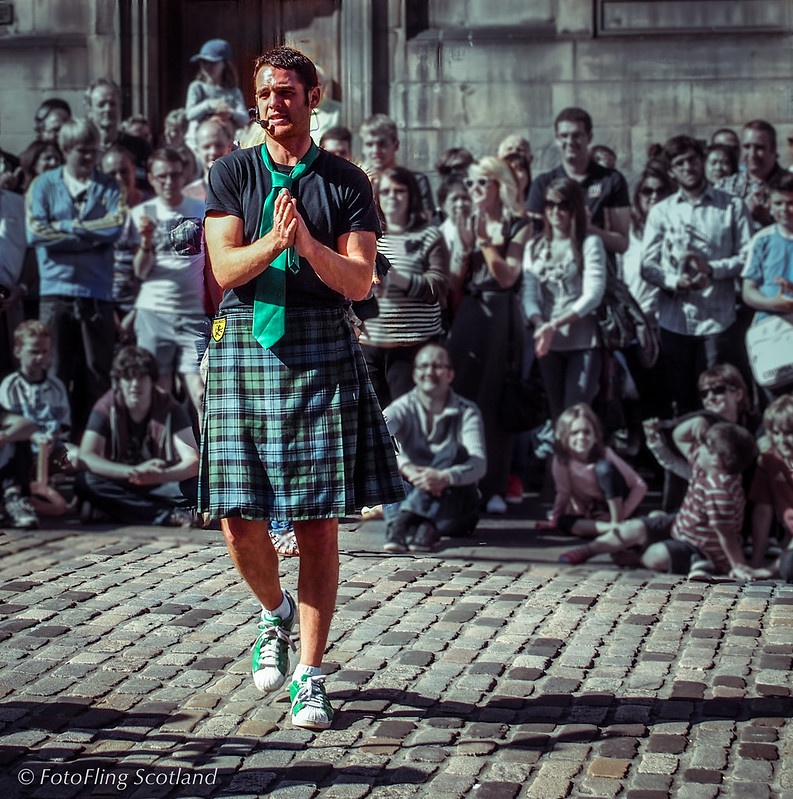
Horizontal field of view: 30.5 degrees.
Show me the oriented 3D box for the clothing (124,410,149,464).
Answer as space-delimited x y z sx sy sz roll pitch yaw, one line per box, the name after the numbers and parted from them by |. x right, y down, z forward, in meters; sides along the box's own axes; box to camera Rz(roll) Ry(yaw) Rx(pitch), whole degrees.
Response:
-1.211 0.184 6.809 0.150 0.219 0.076 -1 7 -3 | clothing

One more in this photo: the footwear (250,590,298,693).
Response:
-0.349 0.728 4.307 0.113 0.307 0.117 2 -34 2 | footwear

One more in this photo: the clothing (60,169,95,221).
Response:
-1.490 -0.976 6.826 0.150 0.211 0.089 -3 8 -21 | clothing

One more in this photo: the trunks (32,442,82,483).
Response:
-1.540 0.295 6.766 0.314 0.108 0.133 -6 13 -21 | trunks

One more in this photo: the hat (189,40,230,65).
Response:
-1.132 -2.150 8.928 0.131 0.116 0.224 5 15 30 | hat

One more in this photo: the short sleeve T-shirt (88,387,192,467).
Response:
-1.213 0.144 6.868 0.494 0.422 0.277 1 3 -9 | short sleeve T-shirt

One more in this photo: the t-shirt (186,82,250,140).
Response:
-1.031 -1.670 8.549 0.347 0.498 0.321 3 -21 -11 | t-shirt

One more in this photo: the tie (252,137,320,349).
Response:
-0.301 -0.424 4.005 0.174 0.564 0.139 0 7 1 | tie
